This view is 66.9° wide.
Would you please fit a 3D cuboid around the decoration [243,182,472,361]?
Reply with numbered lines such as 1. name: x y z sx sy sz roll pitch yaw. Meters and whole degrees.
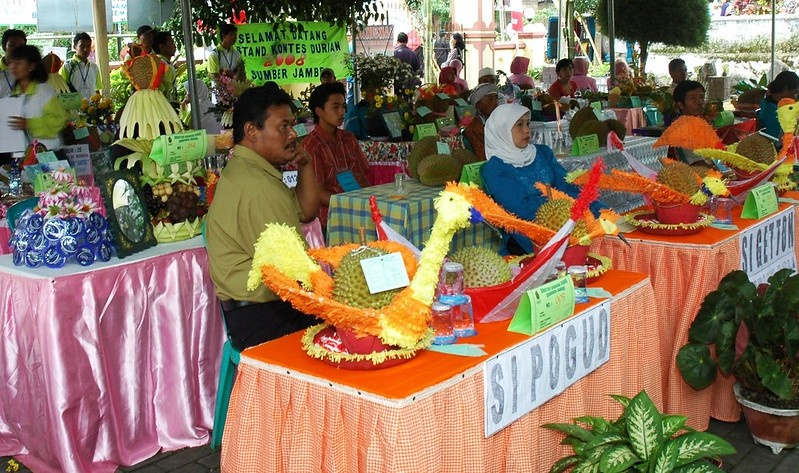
1. decoration: -0.148 0.127 2.946 0.955 0.710 0.692 4 14 13

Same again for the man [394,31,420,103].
1. man: 0.015 -3.684 13.318 0.633 1.610 0.492 6 41 -2

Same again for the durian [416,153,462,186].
1. durian: 0.294 -0.499 4.782 0.359 0.297 0.278 -6 -23 3

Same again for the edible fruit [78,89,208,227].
1. edible fruit: -1.638 -0.583 4.371 0.833 0.961 0.859 -10 8 5

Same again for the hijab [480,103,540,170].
1. hijab: 0.818 -0.761 4.638 0.395 0.459 0.527 9 27 24

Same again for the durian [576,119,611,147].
1. durian: 1.932 -1.033 6.032 0.244 0.174 0.340 6 35 45

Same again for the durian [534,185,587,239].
1. durian: 0.904 -0.128 3.518 0.246 0.339 0.195 1 -4 0

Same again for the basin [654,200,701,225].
1. basin: 1.830 -0.157 4.013 0.185 0.091 0.191 1 5 0

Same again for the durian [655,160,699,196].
1. durian: 1.888 -0.389 4.116 0.250 0.252 0.223 0 -3 16

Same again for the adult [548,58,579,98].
1. adult: 2.617 -2.495 9.646 0.632 0.638 0.345 -10 12 -21

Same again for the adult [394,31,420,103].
1. adult: 0.014 -3.707 13.274 0.585 1.523 0.475 -2 42 -10

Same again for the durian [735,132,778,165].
1. durian: 2.813 -0.685 4.820 0.256 0.166 0.284 7 24 -9

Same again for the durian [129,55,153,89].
1. durian: -1.789 -1.128 4.151 0.181 0.232 0.079 2 10 12

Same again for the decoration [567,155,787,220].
1. decoration: 1.849 -0.415 3.985 0.966 0.347 1.132 -11 17 -28

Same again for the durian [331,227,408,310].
1. durian: -0.140 0.174 2.663 0.278 0.162 0.286 -24 50 -19

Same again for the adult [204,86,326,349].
1. adult: -0.761 0.010 3.911 0.970 1.832 0.845 -4 15 -11

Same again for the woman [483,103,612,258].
1. woman: 1.071 -0.500 4.502 0.892 1.085 0.708 0 19 39

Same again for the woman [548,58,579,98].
1. woman: 2.552 -2.468 9.453 0.417 0.659 1.138 3 10 16

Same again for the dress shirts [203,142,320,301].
1. dress shirts: -0.831 -0.198 4.008 0.686 1.112 1.232 -2 13 -10

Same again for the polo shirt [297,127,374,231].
1. polo shirt: -0.571 -0.595 5.521 0.664 0.829 0.292 -19 15 -32

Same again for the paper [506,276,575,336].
1. paper: 0.722 0.325 3.025 0.387 0.228 0.148 -13 17 -41

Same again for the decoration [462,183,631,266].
1. decoration: 0.826 -0.116 3.291 0.671 0.427 1.404 4 11 24

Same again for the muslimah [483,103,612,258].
1. muslimah: 1.041 -0.501 4.526 0.709 1.032 0.813 -26 22 -34
